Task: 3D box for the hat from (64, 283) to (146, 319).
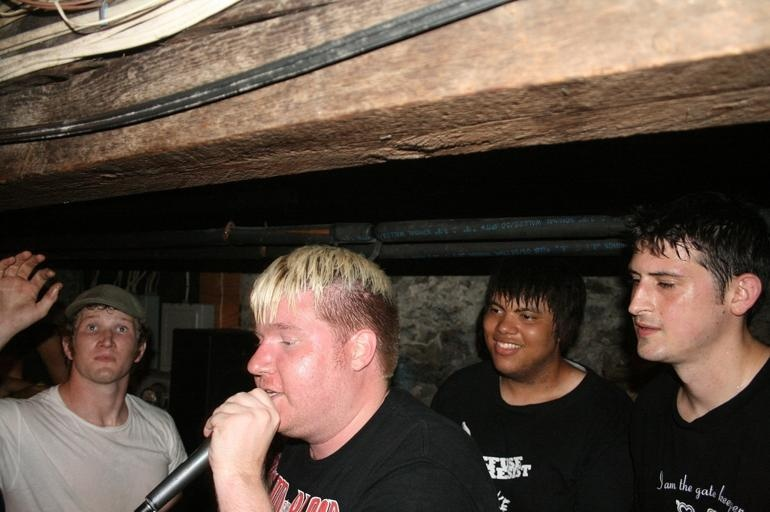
[{"bbox_3d":[-1.566,0.287,3.421,0.332,0.091,0.283,8,-16,-21],"label":"hat"}]
